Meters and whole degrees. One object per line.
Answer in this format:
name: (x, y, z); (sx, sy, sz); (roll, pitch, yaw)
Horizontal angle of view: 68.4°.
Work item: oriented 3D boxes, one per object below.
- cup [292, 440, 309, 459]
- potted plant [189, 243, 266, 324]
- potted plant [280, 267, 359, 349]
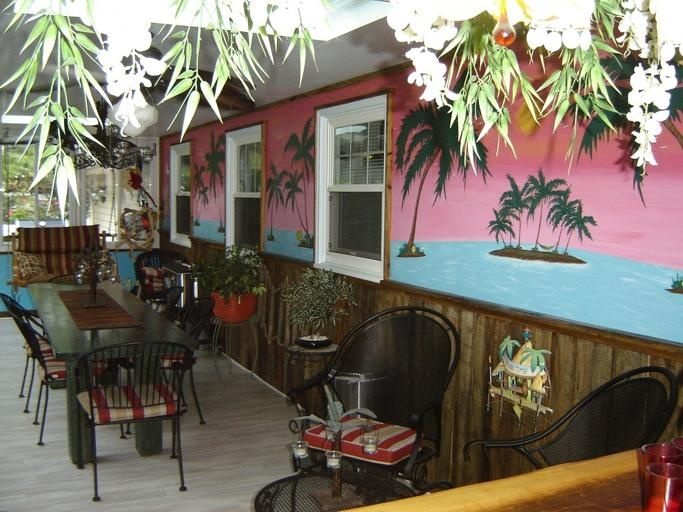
cup: (-0.200, 0.939, 2.415); (0.089, 0.069, 0.092); (0, 1, 0)
potted plant: (-1.320, 0.251, 5.640); (0.770, 1.053, 0.961); (-3, 5, -38)
potted plant: (-0.171, 0.371, 4.269); (0.794, 0.869, 0.629); (1, 7, 7)
